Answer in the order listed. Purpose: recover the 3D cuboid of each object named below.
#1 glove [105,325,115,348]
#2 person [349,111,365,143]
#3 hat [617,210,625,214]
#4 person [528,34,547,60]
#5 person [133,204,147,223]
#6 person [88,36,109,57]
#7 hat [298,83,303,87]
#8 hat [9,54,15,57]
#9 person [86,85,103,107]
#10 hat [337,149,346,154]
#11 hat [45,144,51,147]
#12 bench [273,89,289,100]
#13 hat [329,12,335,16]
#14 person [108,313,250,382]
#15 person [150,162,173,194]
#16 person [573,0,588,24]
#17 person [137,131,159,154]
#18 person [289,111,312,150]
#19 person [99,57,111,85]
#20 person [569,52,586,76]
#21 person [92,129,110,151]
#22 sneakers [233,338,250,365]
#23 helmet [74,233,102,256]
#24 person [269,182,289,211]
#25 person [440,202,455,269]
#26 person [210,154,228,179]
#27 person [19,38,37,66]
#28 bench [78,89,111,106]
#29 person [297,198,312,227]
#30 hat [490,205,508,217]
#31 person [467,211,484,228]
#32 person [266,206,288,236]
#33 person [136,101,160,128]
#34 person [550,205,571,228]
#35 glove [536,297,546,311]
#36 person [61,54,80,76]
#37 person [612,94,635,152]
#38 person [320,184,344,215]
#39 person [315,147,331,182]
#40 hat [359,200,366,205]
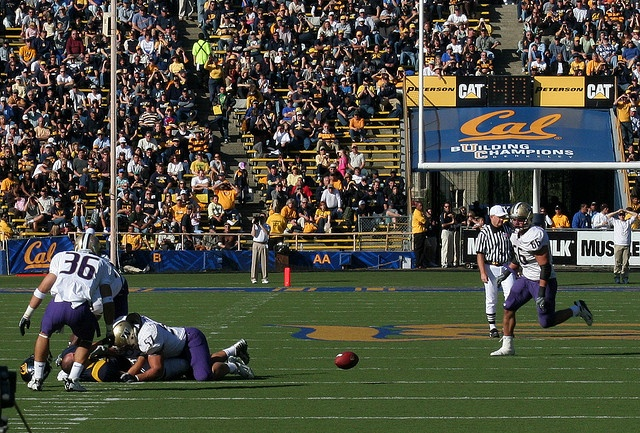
[{"bbox_3d":[-4.432,2.507,34.628,0.195,0.296,0.401,10,47,-13],"label":"glove"},{"bbox_3d":[1.158,-2.890,52.077,0.560,0.997,0.329,-5,14,-14],"label":"person"},{"bbox_3d":[8.247,-0.148,45.214,0.113,0.121,0.108,3,24,16],"label":"hat"},{"bbox_3d":[7.028,-5.513,53.613,0.614,0.942,0.553,9,-32,17],"label":"person"},{"bbox_3d":[-5.501,-0.122,49.464,0.599,0.703,0.440,0,-1,-11],"label":"person"},{"bbox_3d":[-7.354,-5.665,54.630,0.730,0.609,0.872,-3,14,-8],"label":"person"},{"bbox_3d":[-0.630,-4.231,52.530,0.146,0.135,0.052,15,3,-3],"label":"hat"},{"bbox_3d":[-10.187,-5.359,54.501,0.173,0.084,0.257,-1,5,-12],"label":"hat"},{"bbox_3d":[-7.244,-3.858,52.710,0.509,0.693,0.649,-1,12,-5],"label":"person"},{"bbox_3d":[0.686,-2.026,50.748,0.182,0.103,0.141,6,-7,-26],"label":"hat"},{"bbox_3d":[-8.408,-2.207,51.047,0.243,0.113,0.184,-5,14,-15],"label":"hat"},{"bbox_3d":[-1.235,-3.951,52.904,0.620,0.293,1.202,-1,13,-1],"label":"bench"},{"bbox_3d":[0.359,-6.763,54.700,0.169,0.092,0.264,0,7,3],"label":"hat"},{"bbox_3d":[-2.893,2.754,35.152,2.611,1.142,1.397,2,2,-12],"label":"person"},{"bbox_3d":[-4.905,-1.206,50.438,0.719,0.964,0.562,0,6,-6],"label":"person"},{"bbox_3d":[8.558,-6.811,54.417,0.450,0.716,0.400,1,14,8],"label":"person"},{"bbox_3d":[-5.377,-2.307,51.345,0.813,0.982,0.582,0,3,-3],"label":"person"},{"bbox_3d":[-0.666,-2.700,51.747,0.732,1.291,0.654,-4,3,-28],"label":"person"},{"bbox_3d":[-6.997,-4.720,53.881,0.311,0.924,0.478,5,15,23],"label":"person"},{"bbox_3d":[8.220,-4.846,52.815,0.629,0.803,0.345,2,-9,26],"label":"person"},{"bbox_3d":[-6.873,-2.459,51.570,0.509,0.548,1.004,-3,14,-8],"label":"person"},{"bbox_3d":[-1.691,2.961,35.543,0.278,0.589,0.218,-1,44,10],"label":"sneakers"},{"bbox_3d":[-4.925,0.554,34.925,0.402,0.465,0.516,6,21,3],"label":"helmet"},{"bbox_3d":[-1.240,-0.630,49.835,0.518,0.714,1.277,1,24,-3],"label":"person"},{"bbox_3d":[3.806,0.517,49.008,0.411,1.942,0.369,0,14,5],"label":"person"},{"bbox_3d":[-3.177,-1.588,50.745,0.447,0.673,0.898,-3,14,-7],"label":"person"},{"bbox_3d":[-9.702,-5.448,54.701,0.580,0.778,1.029,-3,14,-10],"label":"person"},{"bbox_3d":[-7.198,-3.854,52.840,0.496,0.534,0.761,1,6,-22],"label":"bench"},{"bbox_3d":[-0.468,-0.119,49.130,0.410,0.755,0.544,-1,14,0],"label":"person"},{"bbox_3d":[3.914,-0.135,37.011,0.271,0.194,0.359,-1,3,-39],"label":"hat"},{"bbox_3d":[4.520,0.102,48.531,0.527,0.246,0.709,3,-3,14],"label":"person"},{"bbox_3d":[-1.295,0.089,48.846,0.596,0.941,0.498,-2,30,-10],"label":"person"},{"bbox_3d":[-5.385,-3.205,52.012,0.659,0.670,0.848,1,14,10],"label":"person"},{"bbox_3d":[7.217,-0.003,49.881,0.573,0.826,0.334,-12,-7,33],"label":"person"},{"bbox_3d":[4.804,1.895,36.020,0.200,0.277,0.103,-4,33,21],"label":"glove"},{"bbox_3d":[-8.190,-4.956,54.001,0.527,0.333,0.943,-18,42,-22],"label":"person"},{"bbox_3d":[9.450,-3.008,51.124,0.578,1.594,1.131,2,14,12],"label":"person"},{"bbox_3d":[0.343,-0.498,49.556,0.786,0.882,0.540,-11,1,-5],"label":"person"},{"bbox_3d":[0.059,-1.658,50.886,0.439,0.928,1.042,-1,14,-1],"label":"person"},{"bbox_3d":[1.243,-0.444,49.591,0.197,0.117,0.219,-2,14,-4],"label":"hat"}]
